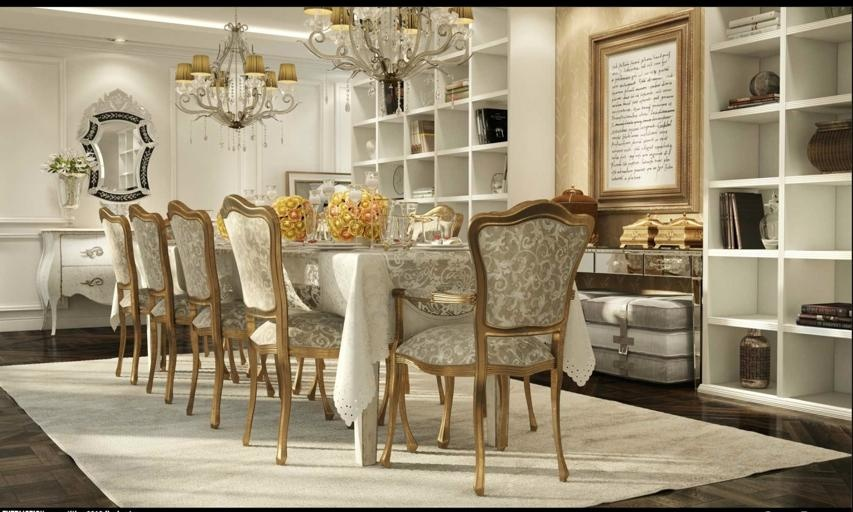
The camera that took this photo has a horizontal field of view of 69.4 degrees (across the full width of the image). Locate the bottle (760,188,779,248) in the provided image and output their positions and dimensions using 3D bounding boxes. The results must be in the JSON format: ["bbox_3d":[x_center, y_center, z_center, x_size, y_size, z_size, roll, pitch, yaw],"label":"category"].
[{"bbox_3d":[2.645,-0.277,4.733,0.124,0.419,0.444,5,10,28],"label":"bottle"}]

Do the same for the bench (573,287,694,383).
[{"bbox_3d":[1.732,0.690,5.138,0.789,0.481,1.028,-1,0,-29],"label":"bench"}]

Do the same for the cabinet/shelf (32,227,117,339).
[{"bbox_3d":[-4.143,0.285,7.217,1.454,1.191,0.600,0,-2,-35],"label":"cabinet/shelf"}]

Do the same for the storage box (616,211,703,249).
[{"bbox_3d":[2.037,-0.184,5.317,0.386,0.217,0.500,-1,0,-34],"label":"storage box"}]

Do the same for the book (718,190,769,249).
[{"bbox_3d":[2.481,-0.277,4.820,0.452,0.400,0.104,-1,-3,-37],"label":"book"}]

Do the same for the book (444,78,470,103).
[{"bbox_3d":[0.339,-1.810,6.784,0.372,0.151,0.358,-4,6,-37],"label":"book"}]

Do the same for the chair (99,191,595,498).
[{"bbox_3d":[-0.307,0.433,3.850,1.437,1.018,2.305,0,-2,-40],"label":"chair"}]

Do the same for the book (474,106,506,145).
[{"bbox_3d":[0.694,-1.377,6.532,0.316,0.379,0.207,-1,9,-3],"label":"book"}]

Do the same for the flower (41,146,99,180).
[{"bbox_3d":[-4.388,-1.123,7.638,0.419,0.223,0.402,2,-2,-25],"label":"flower"}]
